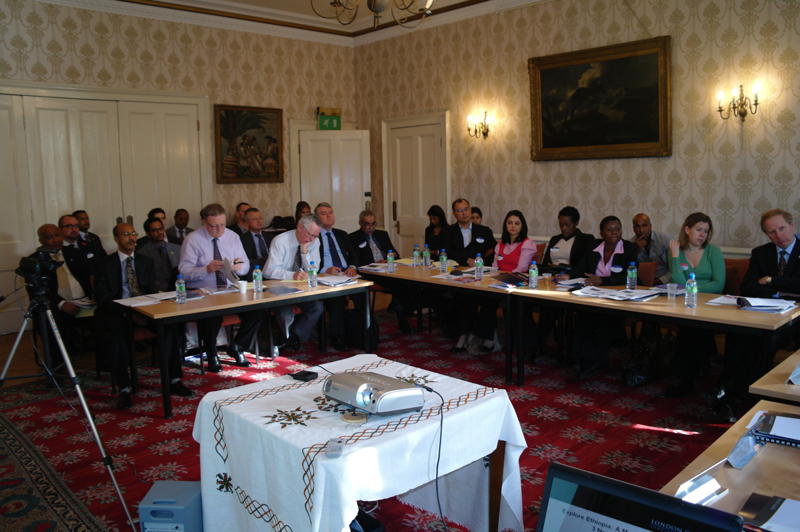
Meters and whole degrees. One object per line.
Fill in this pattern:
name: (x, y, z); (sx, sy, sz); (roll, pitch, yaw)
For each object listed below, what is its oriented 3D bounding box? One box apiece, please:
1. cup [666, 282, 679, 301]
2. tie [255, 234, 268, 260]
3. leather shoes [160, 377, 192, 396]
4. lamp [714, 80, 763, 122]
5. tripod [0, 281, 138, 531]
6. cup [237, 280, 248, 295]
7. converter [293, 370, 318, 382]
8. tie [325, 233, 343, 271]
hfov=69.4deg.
cup: (2.361, 0.217, 5.026); (0.135, 0.143, 0.145); (2, 2, 0)
tie: (-1.967, -0.280, 8.058); (0.227, 0.311, 0.087); (-4, -5, -18)
leather shoes: (-2.154, 1.140, 5.471); (0.315, 0.136, 0.107); (2, 3, 23)
lamp: (3.824, -1.865, 6.521); (0.397, 0.371, 0.371); (-19, 20, -36)
tripod: (-3.051, 0.818, 4.852); (0.677, 1.450, 4.191); (-10, 13, -34)
cup: (-1.507, 0.199, 5.518); (0.088, 0.128, 0.135); (-2, -6, 2)
converter: (-0.601, 0.678, 3.574); (0.100, 0.028, 0.071); (3, 3, 34)
tie: (-0.811, -0.171, 6.694); (0.224, 0.411, 0.120); (-17, 8, -23)
